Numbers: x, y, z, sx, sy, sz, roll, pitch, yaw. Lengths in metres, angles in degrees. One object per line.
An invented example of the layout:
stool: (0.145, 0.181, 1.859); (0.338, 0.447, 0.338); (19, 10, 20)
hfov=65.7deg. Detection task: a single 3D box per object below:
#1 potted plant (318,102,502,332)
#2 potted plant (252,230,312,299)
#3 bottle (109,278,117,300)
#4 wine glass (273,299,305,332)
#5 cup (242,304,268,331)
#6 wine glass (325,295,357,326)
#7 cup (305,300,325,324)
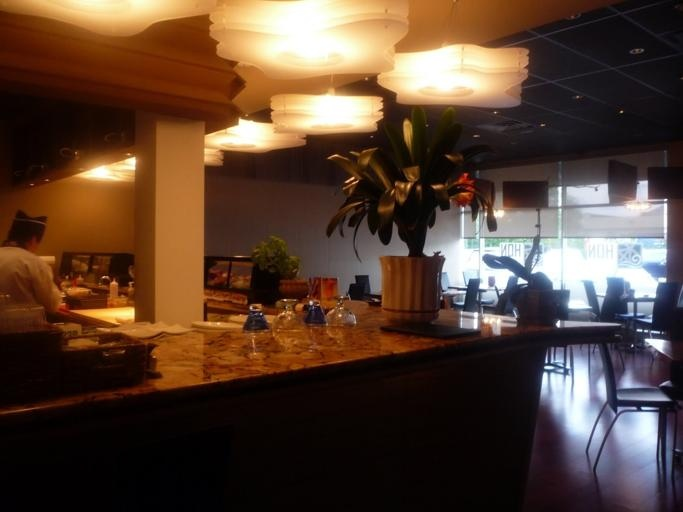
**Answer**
potted plant: (0.400, -0.231, 3.417); (1.158, 1.406, 1.114); (1, -2, -34)
potted plant: (-0.608, 0.168, 4.701); (0.519, 0.638, 0.543); (3, -6, -40)
bottle: (-2.299, 0.357, 5.344); (0.077, 0.175, 0.213); (10, 7, -24)
wine glass: (-0.269, 0.340, 2.705); (0.173, 0.223, 0.146); (3, -11, -18)
cup: (-0.463, 0.328, 2.830); (0.147, 0.128, 0.133); (0, -4, -7)
wine glass: (-0.025, 0.304, 2.937); (0.169, 0.166, 0.173); (-1, -7, 21)
cup: (-0.151, 0.307, 2.904); (0.129, 0.137, 0.123); (0, -5, 0)
